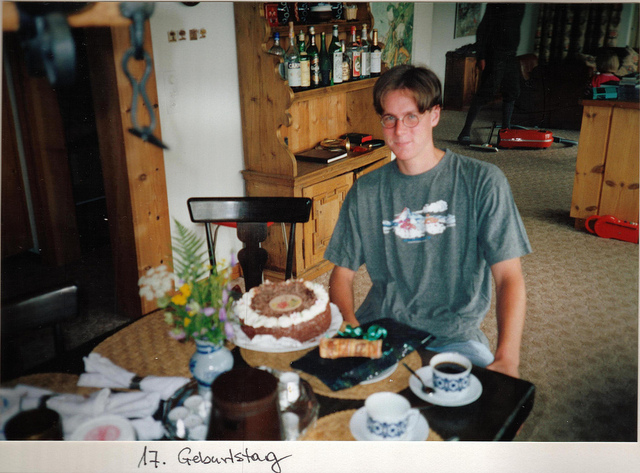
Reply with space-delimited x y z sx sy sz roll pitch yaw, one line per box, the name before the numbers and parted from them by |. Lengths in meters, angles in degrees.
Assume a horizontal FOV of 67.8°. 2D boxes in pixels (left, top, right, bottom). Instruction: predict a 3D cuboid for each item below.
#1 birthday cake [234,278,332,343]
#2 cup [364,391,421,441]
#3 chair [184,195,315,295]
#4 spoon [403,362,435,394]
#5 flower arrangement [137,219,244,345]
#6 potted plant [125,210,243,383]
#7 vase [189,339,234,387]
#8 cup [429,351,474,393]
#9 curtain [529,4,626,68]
birthday cake | -0.099 0.180 1.359 0.186 0.061 0.182 -1 14 -2
cup | 0.167 0.400 1.075 0.111 0.082 0.083 2 12 7
chair | -0.285 -0.015 2.061 0.450 0.554 0.375 2 37 -7
spoon | 0.248 0.345 1.172 0.022 0.015 0.100 -22 39 -14
flower arrangement | -0.448 0.132 1.584 0.240 0.377 0.221 8 20 15
potted plant | -0.285 0.173 1.180 0.324 0.451 0.269 2 16 5
vase | -0.263 0.296 1.224 0.116 0.130 0.114 -6 9 -27
cup | 0.312 0.324 1.159 0.096 0.070 0.074 -7 18 -13
curtain | 1.044 -0.833 1.956 0.293 0.027 0.397 -18 -19 13
